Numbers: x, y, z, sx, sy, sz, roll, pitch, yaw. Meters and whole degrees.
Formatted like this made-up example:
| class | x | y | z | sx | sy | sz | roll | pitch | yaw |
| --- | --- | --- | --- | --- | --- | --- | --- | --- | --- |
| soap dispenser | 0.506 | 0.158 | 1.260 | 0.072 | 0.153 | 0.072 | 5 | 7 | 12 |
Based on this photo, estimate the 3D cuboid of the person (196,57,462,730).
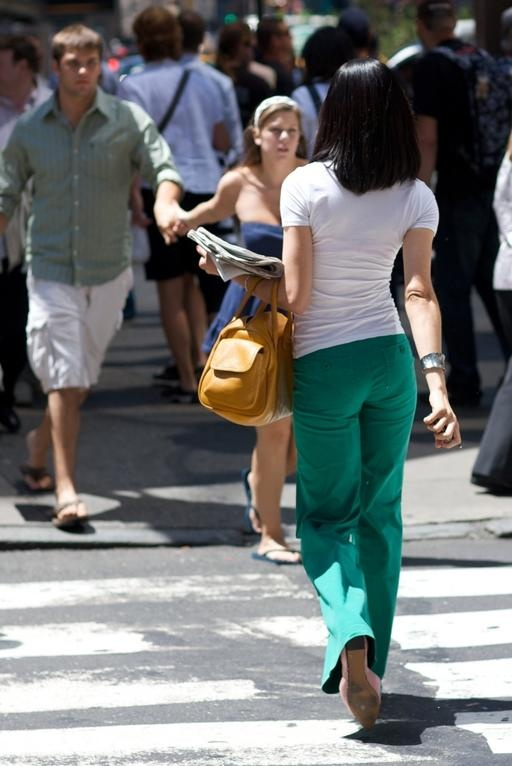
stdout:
| class | x | y | z | sx | sy | sz | roll | pitch | yaw |
| --- | --- | --- | --- | --- | --- | --- | --- | --- | --- |
| person | 0.285 | 0.042 | 2.907 | 0.482 | 1.757 | 0.527 | 2 | 9 | 0 |

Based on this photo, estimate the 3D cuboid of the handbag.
| class | x | y | z | sx | sy | sz | roll | pitch | yaw |
| --- | --- | --- | --- | --- | --- | --- | --- | --- | --- |
| handbag | -0.009 | -0.108 | 3.155 | 0.251 | 0.425 | 0.280 | -9 | 20 | -44 |

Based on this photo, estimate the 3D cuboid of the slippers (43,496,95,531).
| class | x | y | z | sx | sy | sz | roll | pitch | yaw |
| --- | --- | --- | --- | --- | --- | --- | --- | --- | --- |
| slippers | -0.798 | 0.562 | 4.790 | 0.152 | 0.150 | 0.181 | 1 | 9 | -9 |

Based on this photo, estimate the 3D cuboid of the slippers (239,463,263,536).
| class | x | y | z | sx | sy | sz | roll | pitch | yaw |
| --- | --- | --- | --- | --- | --- | --- | --- | --- | --- |
| slippers | 0.017 | 0.522 | 4.948 | 0.102 | 0.297 | 0.127 | -8 | -1 | -7 |

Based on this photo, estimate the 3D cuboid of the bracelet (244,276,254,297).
| class | x | y | z | sx | sy | sz | roll | pitch | yaw |
| --- | --- | --- | --- | --- | --- | --- | --- | --- | --- |
| bracelet | -0.016 | -0.271 | 3.095 | 0.012 | 0.043 | 0.034 | 8 | -2 | 1 |

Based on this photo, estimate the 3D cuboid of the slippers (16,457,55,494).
| class | x | y | z | sx | sy | sz | roll | pitch | yaw |
| --- | --- | --- | --- | --- | --- | --- | --- | --- | --- |
| slippers | -1.043 | 0.438 | 5.298 | 0.105 | 0.175 | 0.074 | -8 | -10 | -6 |

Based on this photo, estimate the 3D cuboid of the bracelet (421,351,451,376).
| class | x | y | z | sx | sy | sz | roll | pitch | yaw |
| --- | --- | --- | --- | --- | --- | --- | --- | --- | --- |
| bracelet | 0.478 | -0.050 | 2.942 | 0.060 | 0.044 | 0.065 | -6 | -12 | 27 |

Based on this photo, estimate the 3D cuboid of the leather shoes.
| class | x | y | z | sx | sy | sz | roll | pitch | yaw |
| --- | --- | --- | --- | --- | --- | --- | --- | --- | --- |
| leather shoes | 0.263 | 0.756 | 2.823 | 0.104 | 0.235 | 0.101 | -11 | 6 | 13 |
